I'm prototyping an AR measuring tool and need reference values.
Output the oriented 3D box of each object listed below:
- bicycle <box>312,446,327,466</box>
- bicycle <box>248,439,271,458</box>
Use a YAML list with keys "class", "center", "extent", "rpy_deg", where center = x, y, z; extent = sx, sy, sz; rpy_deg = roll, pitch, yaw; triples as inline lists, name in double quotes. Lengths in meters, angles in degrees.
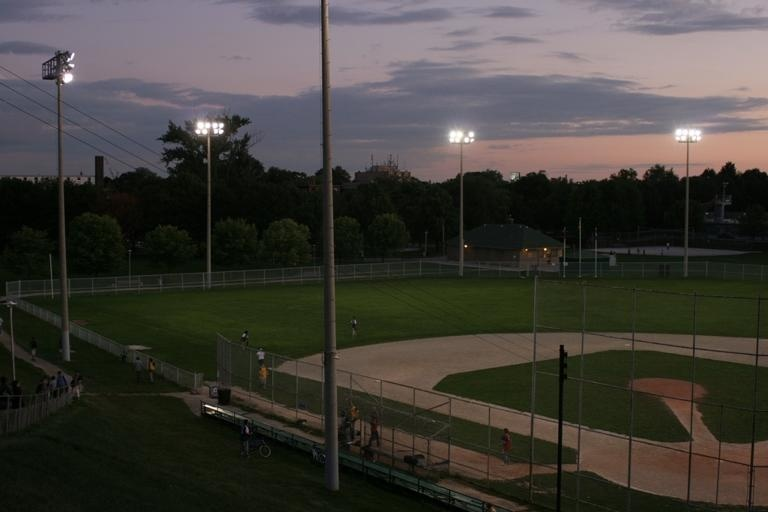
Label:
- class: "bicycle"
  center: [-5.192, 15.697, 93.515]
  extent: [0.950, 1.472, 0.421]
  rpy_deg: [-4, -4, 36]
- class: "bicycle"
  center: [-9.798, 15.198, 94.270]
  extent: [1.952, 1.164, 0.948]
  rpy_deg: [25, 6, -5]
